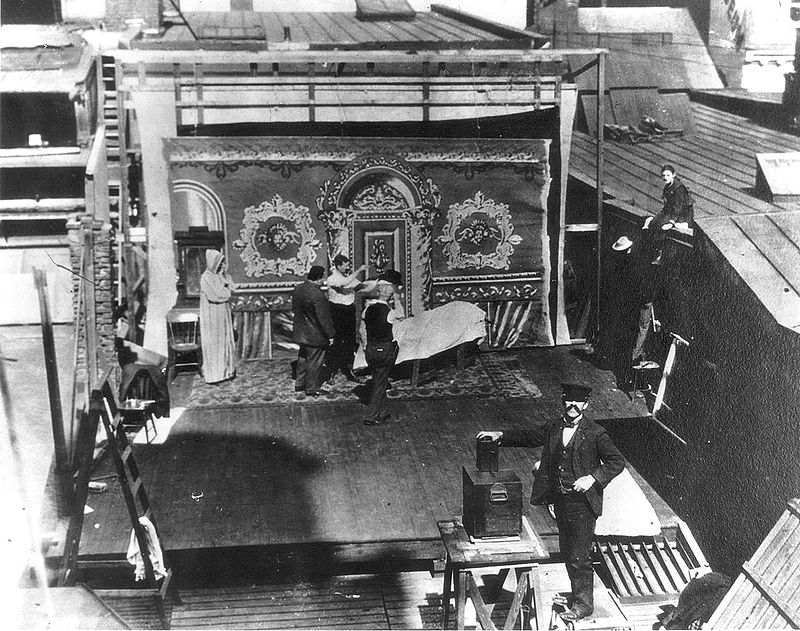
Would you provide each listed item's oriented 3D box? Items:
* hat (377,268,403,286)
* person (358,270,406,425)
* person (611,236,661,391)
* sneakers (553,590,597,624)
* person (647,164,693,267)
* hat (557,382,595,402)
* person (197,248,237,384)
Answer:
[{"bbox_3d":[-0.069,-0.321,9.328,0.178,0.138,0.157,-6,5,-13],"label":"hat"},{"bbox_3d":[-0.143,0.245,9.640,0.371,1.299,0.890,-4,4,0],"label":"person"},{"bbox_3d":[1.999,-0.036,9.196,0.316,1.349,0.617,-5,4,-9],"label":"person"},{"bbox_3d":[1.257,2.119,7.745,0.195,0.085,0.235,4,5,-5],"label":"sneakers"},{"bbox_3d":[2.241,-0.839,8.891,0.392,0.776,0.304,-2,8,-8],"label":"person"},{"bbox_3d":[1.269,0.562,7.678,0.188,0.159,0.160,-3,4,14],"label":"hat"},{"bbox_3d":[-1.731,0.009,10.155,0.317,1.235,0.317,-5,4,-19],"label":"person"}]
